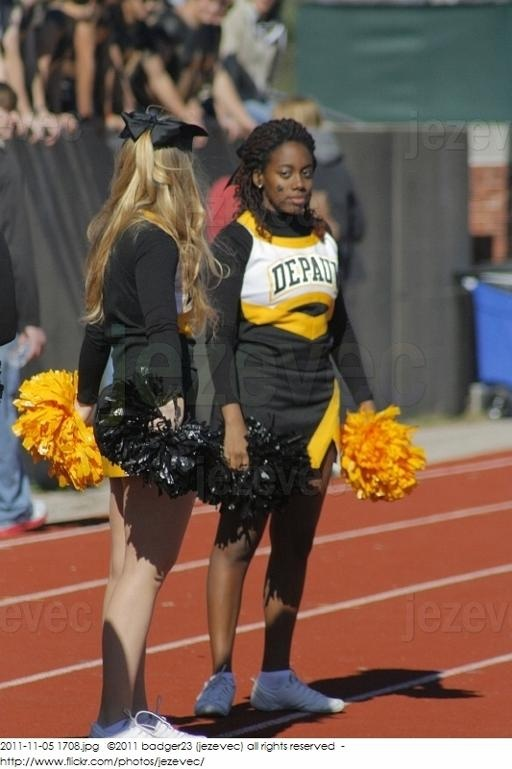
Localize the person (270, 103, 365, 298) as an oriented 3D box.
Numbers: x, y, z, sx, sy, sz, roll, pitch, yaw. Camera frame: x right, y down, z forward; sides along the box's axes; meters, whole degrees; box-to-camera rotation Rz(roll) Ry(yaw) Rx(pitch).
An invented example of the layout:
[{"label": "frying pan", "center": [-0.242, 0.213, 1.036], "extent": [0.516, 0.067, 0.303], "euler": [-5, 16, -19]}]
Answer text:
[{"label": "person", "center": [0.446, -1.358, 6.746], "extent": [0.824, 1.302, 0.534], "euler": [-11, 15, -28]}]

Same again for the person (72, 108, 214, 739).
[{"label": "person", "center": [-0.307, 0.111, 2.454], "extent": [0.380, 1.686, 0.455], "euler": [0, 3, -3]}]

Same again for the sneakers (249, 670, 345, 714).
[{"label": "sneakers", "center": [0.111, 0.977, 2.985], "extent": [0.363, 0.145, 0.109], "euler": [0, 0, -2]}]

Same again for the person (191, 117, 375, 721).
[{"label": "person", "center": [0.100, 0.126, 2.756], "extent": [0.558, 1.833, 0.485], "euler": [0, 3, -7]}]
